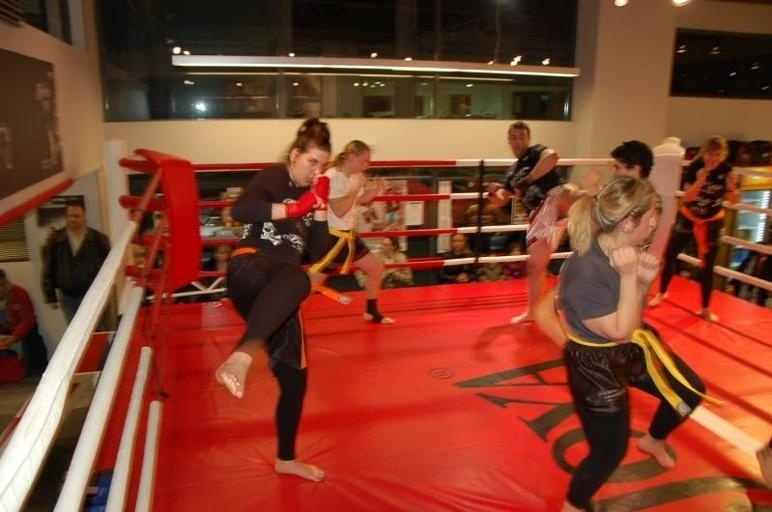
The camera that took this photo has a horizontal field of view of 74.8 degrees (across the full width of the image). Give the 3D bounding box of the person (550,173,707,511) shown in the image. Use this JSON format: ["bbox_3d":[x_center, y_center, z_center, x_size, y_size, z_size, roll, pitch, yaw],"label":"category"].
[{"bbox_3d":[1.187,0.441,2.607,0.851,1.672,0.524,-8,16,-25],"label":"person"}]

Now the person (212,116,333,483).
[{"bbox_3d":[-0.553,0.265,2.627,0.539,1.912,0.976,-1,14,0],"label":"person"}]

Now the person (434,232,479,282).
[{"bbox_3d":[0.858,0.072,5.943,0.561,0.712,0.485,-8,14,4],"label":"person"}]
